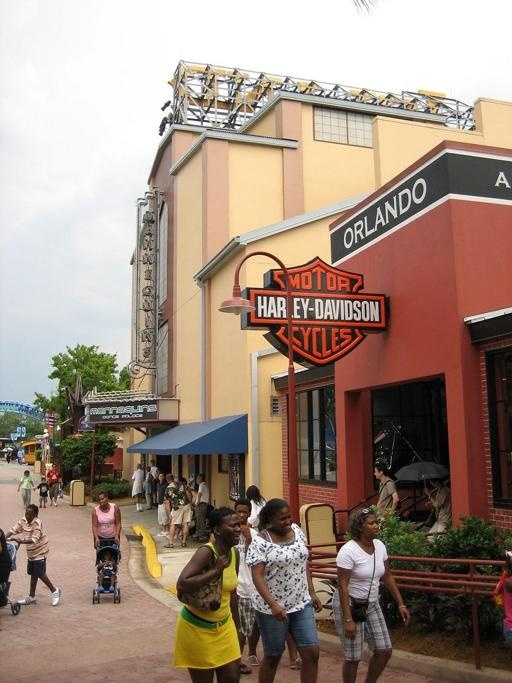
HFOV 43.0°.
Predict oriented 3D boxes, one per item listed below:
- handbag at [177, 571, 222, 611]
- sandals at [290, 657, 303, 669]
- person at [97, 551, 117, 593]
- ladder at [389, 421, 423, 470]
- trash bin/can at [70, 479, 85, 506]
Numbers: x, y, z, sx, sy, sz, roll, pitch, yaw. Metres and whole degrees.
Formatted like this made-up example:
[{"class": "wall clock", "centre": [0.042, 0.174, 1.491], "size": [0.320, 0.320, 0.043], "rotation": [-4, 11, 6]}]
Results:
[{"class": "handbag", "centre": [-0.307, 1.373, 3.588], "size": [0.239, 0.251, 0.111], "rotation": [6, -38, 13]}, {"class": "sandals", "centre": [0.372, 2.970, 6.023], "size": [0.068, 0.068, 0.189], "rotation": [1, -1, 0]}, {"class": "person", "centre": [-2.321, 3.625, 10.187], "size": [0.343, 0.795, 0.628], "rotation": [1, -8, -11]}, {"class": "ladder", "centre": [2.976, 2.083, 13.018], "size": [0.573, 0.916, 0.253], "rotation": [-3, -17, -36]}, {"class": "trash bin/can", "centre": [-7.565, 6.456, 27.576], "size": [0.550, 1.002, 0.278], "rotation": [5, -9, -35]}]
